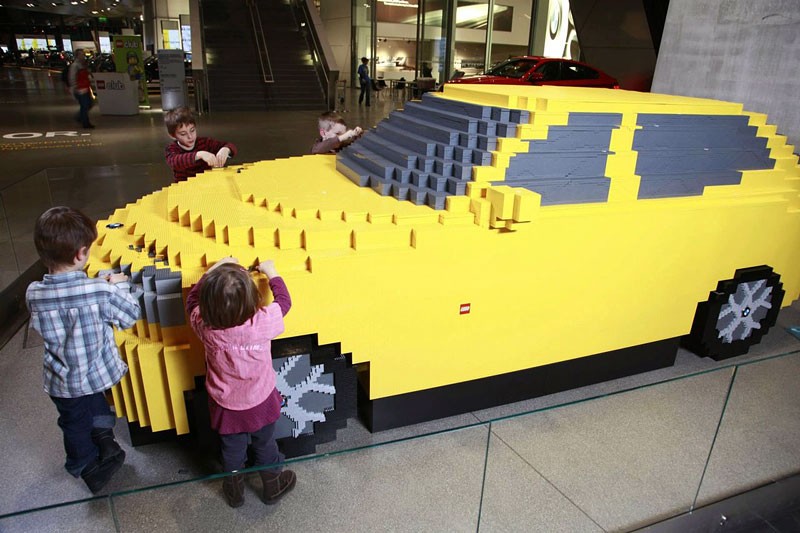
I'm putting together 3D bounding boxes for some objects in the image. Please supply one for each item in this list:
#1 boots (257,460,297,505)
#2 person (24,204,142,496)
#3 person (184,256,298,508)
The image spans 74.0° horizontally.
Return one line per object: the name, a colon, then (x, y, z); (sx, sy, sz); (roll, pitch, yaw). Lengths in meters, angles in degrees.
boots: (-0.598, 1.069, 2.601); (0.108, 0.192, 0.211); (32, 44, 33)
person: (-2.041, 0.578, 3.523); (0.669, 1.936, 0.407); (-17, 28, -32)
person: (-0.978, 0.667, 3.499); (0.611, 1.436, 0.442); (-10, 26, -21)
